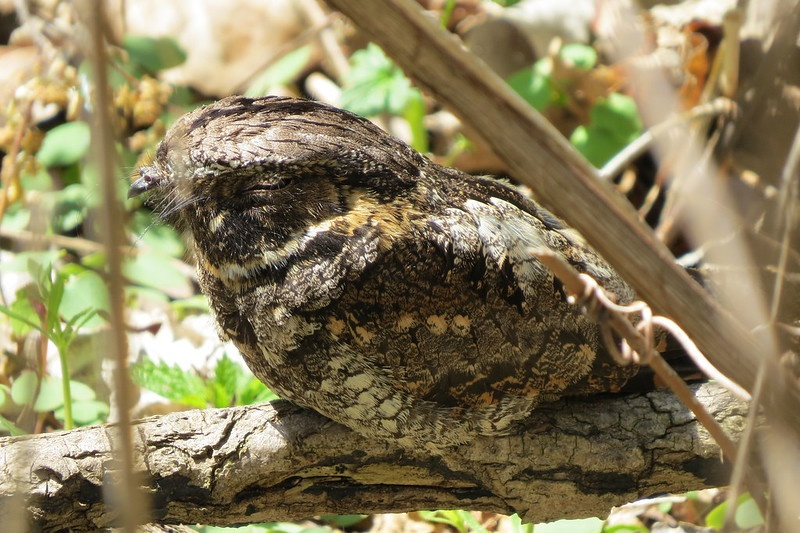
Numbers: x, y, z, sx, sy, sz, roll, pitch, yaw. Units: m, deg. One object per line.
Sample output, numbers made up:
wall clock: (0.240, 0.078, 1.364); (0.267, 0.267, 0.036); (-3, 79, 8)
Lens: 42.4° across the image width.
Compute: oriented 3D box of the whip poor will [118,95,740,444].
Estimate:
whip poor will: (0.177, 0.126, 4.899); (2.569, 1.827, 1.290); (-7, 18, -18)
